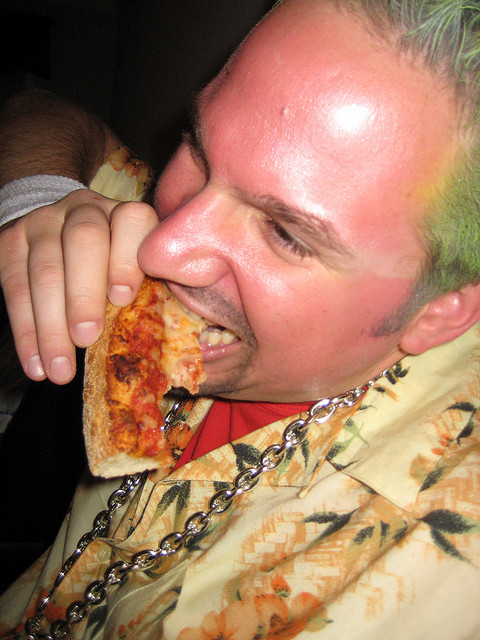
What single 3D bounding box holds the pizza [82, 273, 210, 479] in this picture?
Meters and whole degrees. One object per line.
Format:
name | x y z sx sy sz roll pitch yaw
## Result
pizza | -0.245 0.116 1.476 0.324 0.121 0.551 4 47 -7
